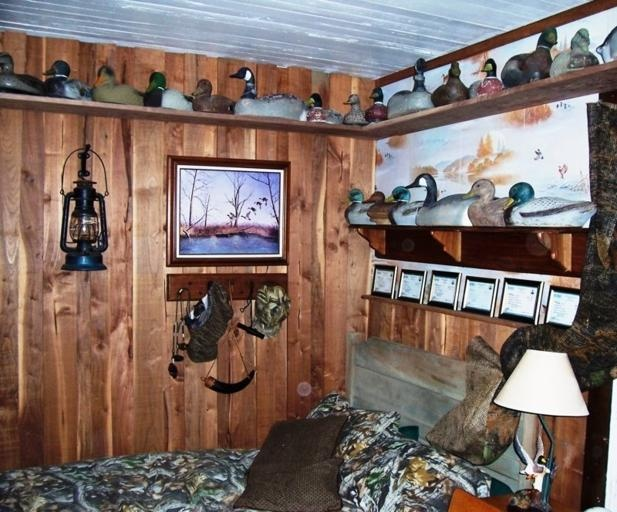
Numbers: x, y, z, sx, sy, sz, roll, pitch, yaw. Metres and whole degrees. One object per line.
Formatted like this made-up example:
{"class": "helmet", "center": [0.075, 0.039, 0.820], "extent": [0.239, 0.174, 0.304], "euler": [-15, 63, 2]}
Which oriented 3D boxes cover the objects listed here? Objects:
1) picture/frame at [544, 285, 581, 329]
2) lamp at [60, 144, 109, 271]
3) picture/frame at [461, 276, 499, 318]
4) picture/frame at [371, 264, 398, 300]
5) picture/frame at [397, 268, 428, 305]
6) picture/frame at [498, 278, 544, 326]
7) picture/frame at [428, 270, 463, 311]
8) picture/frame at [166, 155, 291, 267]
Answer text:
{"class": "picture/frame", "center": [1.222, 0.243, 2.547], "extent": [0.046, 0.160, 0.177], "euler": [9, -2, -23]}
{"class": "lamp", "center": [-1.289, -0.286, 3.046], "extent": [0.273, 0.788, 0.492], "euler": [-2, 4, -24]}
{"class": "picture/frame", "center": [0.966, 0.227, 2.989], "extent": [0.019, 0.205, 0.219], "euler": [4, 2, -37]}
{"class": "picture/frame", "center": [0.539, 0.190, 3.743], "extent": [0.024, 0.253, 0.268], "euler": [9, -7, -27]}
{"class": "picture/frame", "center": [0.672, 0.199, 3.457], "extent": [0.021, 0.216, 0.235], "euler": [8, -1, -31]}
{"class": "picture/frame", "center": [1.103, 0.235, 2.759], "extent": [0.012, 0.214, 0.233], "euler": [9, -1, -32]}
{"class": "picture/frame", "center": [0.828, 0.215, 3.184], "extent": [0.022, 0.244, 0.259], "euler": [14, -5, -31]}
{"class": "picture/frame", "center": [-0.576, -0.305, 3.523], "extent": [0.885, 0.655, 0.059], "euler": [0, -1, -21]}
